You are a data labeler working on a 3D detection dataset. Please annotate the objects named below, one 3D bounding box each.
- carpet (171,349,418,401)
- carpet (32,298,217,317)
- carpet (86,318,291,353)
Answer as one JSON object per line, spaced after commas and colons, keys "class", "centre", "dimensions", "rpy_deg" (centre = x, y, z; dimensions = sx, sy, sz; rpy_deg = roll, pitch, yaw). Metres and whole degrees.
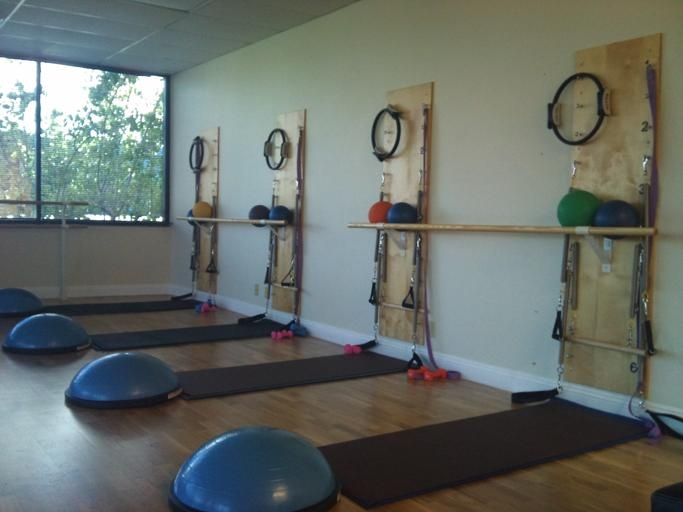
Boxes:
{"class": "carpet", "centre": [-0.437, 1.024, 4.774], "dimensions": [2.018, 0.103, 0.763], "rpy_deg": [2, 4, -29]}
{"class": "carpet", "centre": [-3.126, 0.711, 7.707], "dimensions": [2.035, 0.102, 1.060], "rpy_deg": [2, 4, -27]}
{"class": "carpet", "centre": [-1.702, 0.874, 6.089], "dimensions": [2.078, 0.124, 0.876], "rpy_deg": [2, 4, -30]}
